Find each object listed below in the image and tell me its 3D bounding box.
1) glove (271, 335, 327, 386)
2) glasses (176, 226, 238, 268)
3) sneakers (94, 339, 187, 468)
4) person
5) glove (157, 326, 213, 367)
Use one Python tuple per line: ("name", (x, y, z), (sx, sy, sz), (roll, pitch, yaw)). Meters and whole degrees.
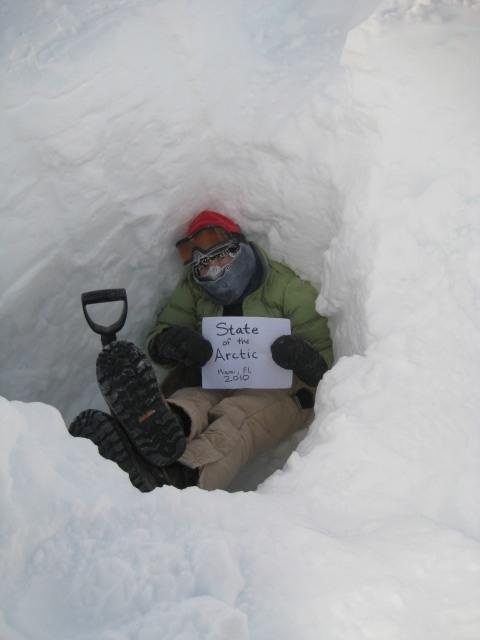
("glove", (0.139, 0.073, 1.630), (0.113, 0.066, 0.186), (16, 18, 10))
("glasses", (-0.101, -0.210, 1.779), (0.113, 0.048, 0.134), (-21, -2, 29))
("sneakers", (-0.216, 0.174, 1.405), (0.133, 0.135, 0.313), (-29, 85, -18))
("person", (-0.082, 0.058, 1.684), (0.564, 0.625, 0.932), (0, 18, 18))
("glove", (-0.148, 0.062, 1.643), (0.097, 0.056, 0.140), (-22, 20, -35))
